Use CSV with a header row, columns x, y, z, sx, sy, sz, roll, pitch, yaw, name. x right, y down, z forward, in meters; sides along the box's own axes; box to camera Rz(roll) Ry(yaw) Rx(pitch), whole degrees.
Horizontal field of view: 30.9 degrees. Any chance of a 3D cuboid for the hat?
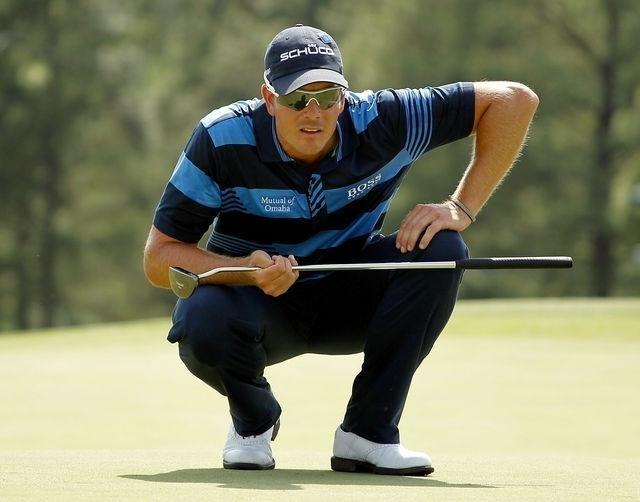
x,y,z,sx,sy,sz,roll,pitch,yaw,name
-0.073,-0.912,5.545,0.306,0.235,0.421,-1,3,-20,hat
